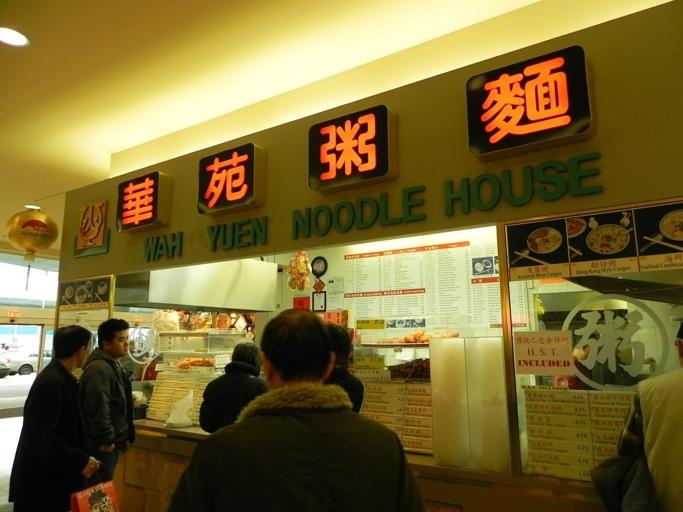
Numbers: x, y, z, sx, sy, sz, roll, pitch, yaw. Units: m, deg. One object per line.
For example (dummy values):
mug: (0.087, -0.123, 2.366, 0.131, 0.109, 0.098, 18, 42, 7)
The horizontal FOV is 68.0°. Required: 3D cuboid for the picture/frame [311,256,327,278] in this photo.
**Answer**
picture/frame: (-0.247, 0.119, 5.533, 0.038, 0.220, 0.221, 7, -9, -42)
